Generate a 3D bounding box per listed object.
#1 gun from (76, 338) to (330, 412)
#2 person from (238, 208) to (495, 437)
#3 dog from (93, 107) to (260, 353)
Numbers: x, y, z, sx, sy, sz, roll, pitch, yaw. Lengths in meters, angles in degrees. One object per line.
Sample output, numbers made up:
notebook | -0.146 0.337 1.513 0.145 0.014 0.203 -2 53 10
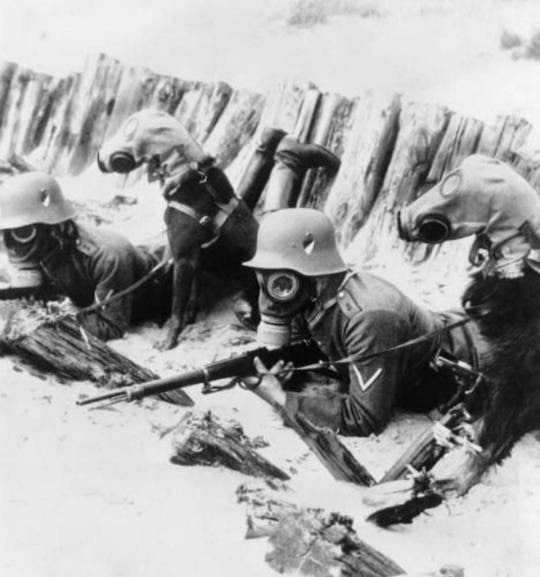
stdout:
gun | -0.334 0.532 3.893 1.562 0.332 0.071 -8 26 -39
person | 0.468 0.235 3.728 1.247 1.103 0.278 13 15 0
dog | -0.512 -0.307 4.080 0.642 1.383 0.820 9 11 33
